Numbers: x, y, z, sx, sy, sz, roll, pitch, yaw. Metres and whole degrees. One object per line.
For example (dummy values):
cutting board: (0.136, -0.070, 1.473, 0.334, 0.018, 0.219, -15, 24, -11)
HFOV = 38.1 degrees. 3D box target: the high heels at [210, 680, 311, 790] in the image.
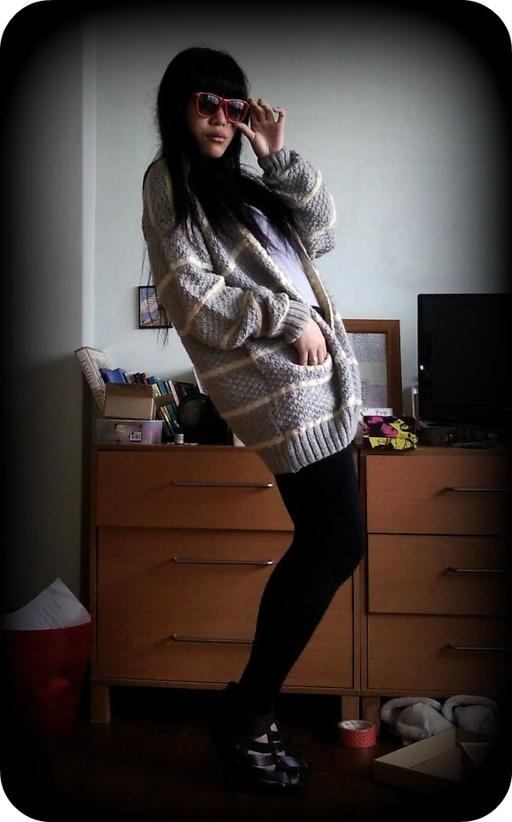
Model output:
high heels: (-0.019, 0.591, 1.409, 0.129, 0.106, 0.235, 8, 2, -35)

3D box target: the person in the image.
person: (-0.001, 0.027, 1.299, 0.358, 1.319, 0.259, 2, -2, -26)

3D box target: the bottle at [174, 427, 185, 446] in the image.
bottle: (-0.199, 0.071, 1.959, 0.023, 0.038, 0.039, -1, -5, 0)
